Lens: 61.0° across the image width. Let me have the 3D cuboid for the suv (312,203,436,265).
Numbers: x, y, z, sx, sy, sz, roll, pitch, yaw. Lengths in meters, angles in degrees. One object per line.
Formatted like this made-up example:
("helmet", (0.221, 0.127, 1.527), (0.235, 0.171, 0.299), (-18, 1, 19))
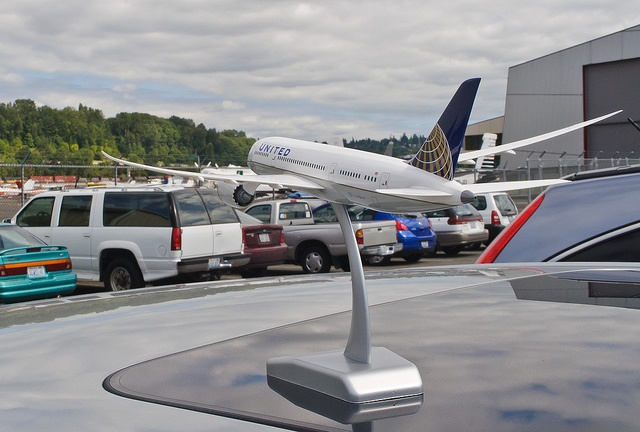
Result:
("suv", (1.394, 0.425, 15.416), (3.159, 1.022, 1.724), (6, 6, 37))

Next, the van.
("van", (-3.910, 0.232, 10.920), (4.436, 1.199, 2.273), (6, 4, 30))

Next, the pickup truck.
("pickup truck", (-0.023, 0.463, 13.952), (3.636, 1.061, 1.869), (6, 4, 29))
